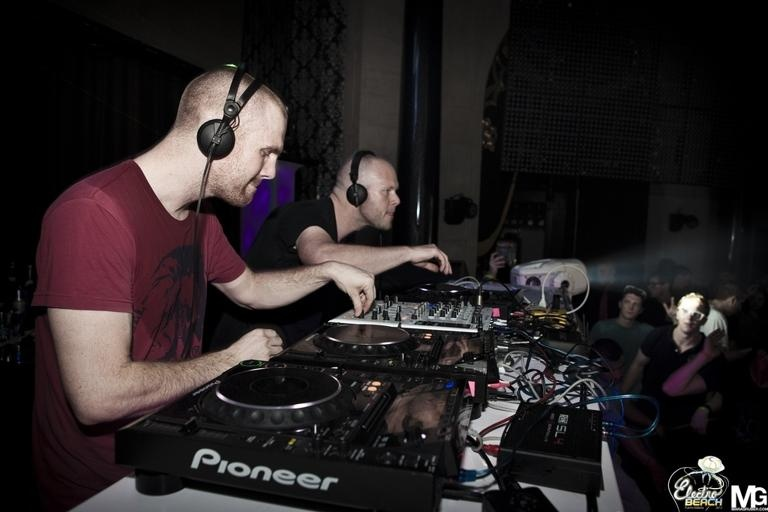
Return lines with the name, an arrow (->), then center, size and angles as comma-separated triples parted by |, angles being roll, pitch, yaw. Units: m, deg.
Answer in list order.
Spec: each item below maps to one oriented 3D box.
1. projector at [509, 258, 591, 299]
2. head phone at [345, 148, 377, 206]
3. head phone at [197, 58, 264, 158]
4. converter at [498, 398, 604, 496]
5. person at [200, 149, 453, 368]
projector -> 0.997, 0.142, 3.555 | 0.310, 0.218, 0.440 | 5, 5, -13
head phone -> -0.134, -0.443, 3.375 | 0.135, 0.395, 0.362 | 5, 2, 13
head phone -> -0.666, -0.578, 2.369 | 0.149, 0.386, 0.343 | 22, -8, -29
converter -> 0.594, 0.669, 2.058 | 0.292, 0.126, 0.302 | 5, 21, 17
person -> -0.198, 0.285, 3.571 | 1.234, 1.815, 0.819 | 3, 24, 10
